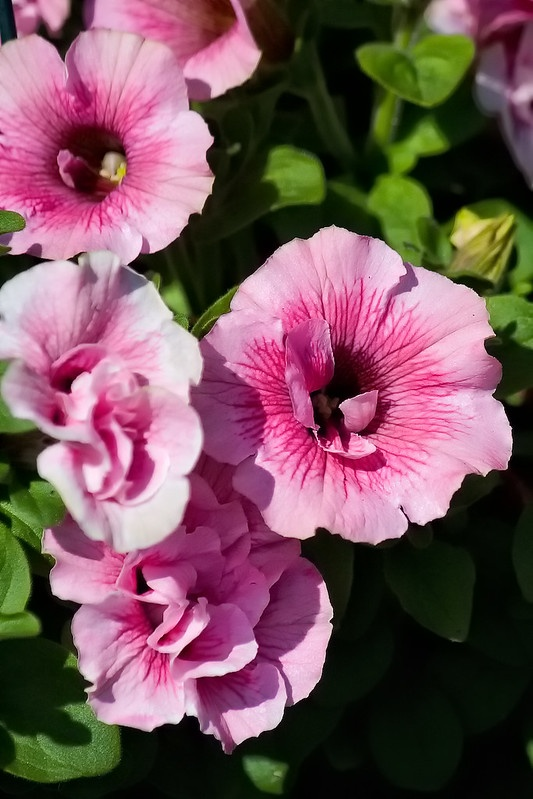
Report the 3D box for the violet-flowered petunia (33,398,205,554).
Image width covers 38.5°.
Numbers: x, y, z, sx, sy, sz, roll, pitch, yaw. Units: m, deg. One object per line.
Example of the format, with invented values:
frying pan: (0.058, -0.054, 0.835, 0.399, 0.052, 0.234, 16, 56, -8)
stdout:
violet-flowered petunia: (-0.076, 0.037, 0.436, 0.083, 0.046, 0.092, 34, 84, 14)
